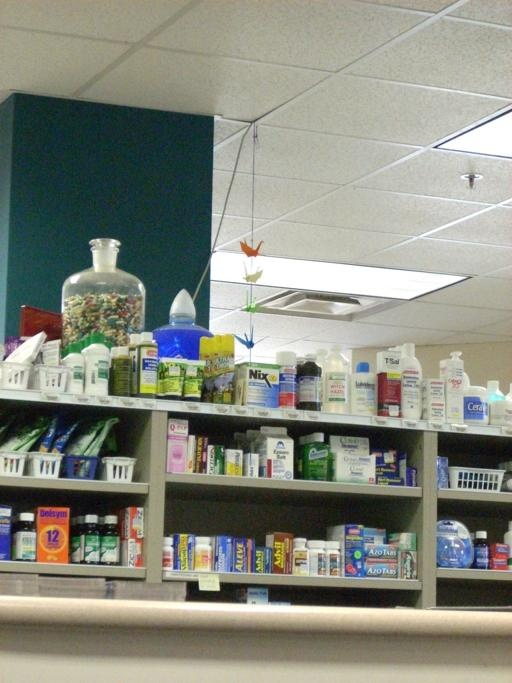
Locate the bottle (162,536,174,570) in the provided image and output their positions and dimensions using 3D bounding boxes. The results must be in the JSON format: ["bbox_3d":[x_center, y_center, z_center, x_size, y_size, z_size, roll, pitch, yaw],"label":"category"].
[{"bbox_3d":[-0.265,0.656,2.921,0.041,0.099,0.055,6,-9,-4],"label":"bottle"}]

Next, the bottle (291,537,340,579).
[{"bbox_3d":[0.203,0.710,3.095,0.191,0.116,0.095,6,-20,-9],"label":"bottle"}]

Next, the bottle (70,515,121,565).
[{"bbox_3d":[-0.485,0.611,2.882,0.149,0.171,0.074,3,-27,-13],"label":"bottle"}]

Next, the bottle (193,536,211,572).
[{"bbox_3d":[-0.161,0.672,2.994,0.064,0.101,0.128,6,-8,-2],"label":"bottle"}]

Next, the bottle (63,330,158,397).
[{"bbox_3d":[-0.451,0.077,2.967,0.247,0.188,0.079,1,-14,-2],"label":"bottle"}]

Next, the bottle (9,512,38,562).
[{"bbox_3d":[-0.680,0.578,2.810,0.073,0.136,0.146,8,-9,-14],"label":"bottle"}]
